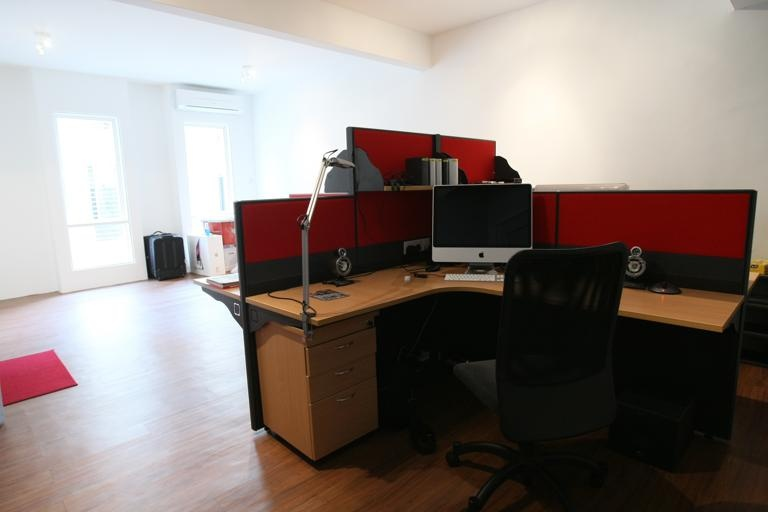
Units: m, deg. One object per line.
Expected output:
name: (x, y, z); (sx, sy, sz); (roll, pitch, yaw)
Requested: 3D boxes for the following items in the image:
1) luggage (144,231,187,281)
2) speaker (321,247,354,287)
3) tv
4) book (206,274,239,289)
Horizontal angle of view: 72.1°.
luggage: (-3.422, 0.020, 8.147); (0.577, 0.679, 0.374); (-3, 12, -9)
speaker: (-0.344, 0.079, 4.230); (0.269, 0.380, 0.295); (4, 6, 40)
tv: (0.813, -0.237, 4.284); (0.763, 0.651, 0.325); (1, 4, 7)
book: (-1.268, 0.198, 4.204); (0.164, 0.037, 0.160); (7, 11, 31)
